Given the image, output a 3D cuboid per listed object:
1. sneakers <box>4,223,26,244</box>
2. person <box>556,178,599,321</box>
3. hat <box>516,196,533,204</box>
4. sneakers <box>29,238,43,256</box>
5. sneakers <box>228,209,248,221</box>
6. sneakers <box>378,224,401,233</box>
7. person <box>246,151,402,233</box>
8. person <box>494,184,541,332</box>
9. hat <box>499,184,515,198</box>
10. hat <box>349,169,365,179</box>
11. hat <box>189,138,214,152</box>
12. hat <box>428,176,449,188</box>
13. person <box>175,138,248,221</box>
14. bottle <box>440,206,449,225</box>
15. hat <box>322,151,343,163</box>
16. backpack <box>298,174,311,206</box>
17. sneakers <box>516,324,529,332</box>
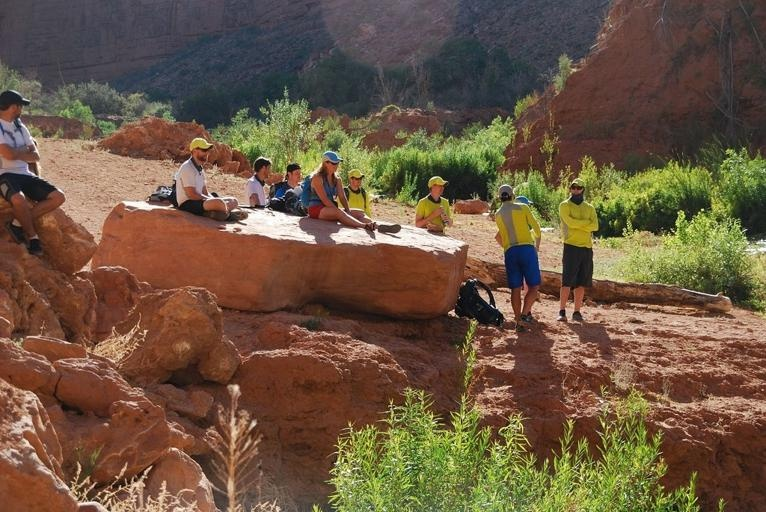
[{"bbox_3d":[-5.135,-0.306,11.815,0.354,0.163,0.171,34,29,-2],"label":"sneakers"},{"bbox_3d":[3.230,-0.077,14.138,0.608,2.365,0.429,4,3,8],"label":"person"},{"bbox_3d":[2.324,-0.931,13.928,0.234,0.167,0.130,4,-14,19],"label":"hat"},{"bbox_3d":[-4.878,-0.129,11.829,0.181,0.241,0.073,2,4,-22],"label":"sneakers"},{"bbox_3d":[-2.266,-0.628,13.108,0.351,0.135,0.152,1,0,-27],"label":"sneakers"},{"bbox_3d":[0.105,-0.440,13.596,0.352,0.150,0.120,2,1,-11],"label":"sneakers"},{"bbox_3d":[-0.861,-1.068,13.865,2.072,1.224,0.634,6,4,25],"label":"person"},{"bbox_3d":[2.190,0.030,13.797,0.753,2.325,0.497,4,3,7],"label":"person"},{"bbox_3d":[2.029,-1.069,13.918,0.230,0.207,0.400,4,-1,9],"label":"hat"},{"bbox_3d":[-0.459,-1.358,14.394,0.236,0.141,0.187,-9,13,20],"label":"hat"},{"bbox_3d":[-2.738,-1.671,12.714,0.248,0.178,0.365,2,5,-26],"label":"hat"},{"bbox_3d":[0.967,-1.219,14.546,0.343,0.204,0.255,-10,14,-1],"label":"hat"},{"bbox_3d":[-2.684,-1.208,13.152,1.126,1.260,0.969,4,6,-3],"label":"person"},{"bbox_3d":[1.100,-0.691,14.636,0.141,0.264,0.226,5,4,20],"label":"bottle"},{"bbox_3d":[-0.831,-1.562,13.639,0.265,0.157,0.202,-3,30,-8],"label":"hat"},{"bbox_3d":[-1.252,-1.064,13.888,0.159,0.454,0.257,7,0,0],"label":"backpack"},{"bbox_3d":[2.261,1.186,13.660,0.148,0.164,0.136,1,-8,-25],"label":"sneakers"}]
